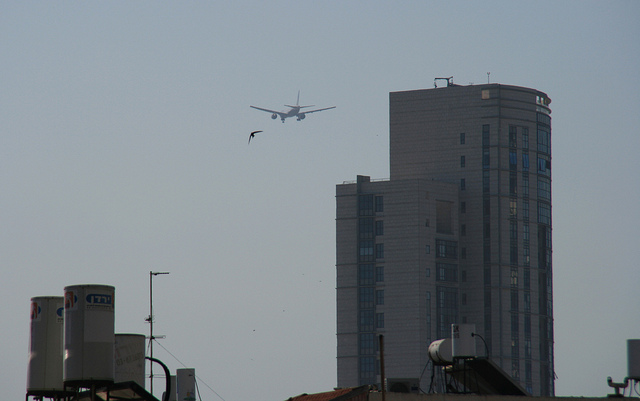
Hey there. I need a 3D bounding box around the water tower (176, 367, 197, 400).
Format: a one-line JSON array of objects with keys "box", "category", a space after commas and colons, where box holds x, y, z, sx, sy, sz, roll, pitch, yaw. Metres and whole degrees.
[{"box": [-22.033, 29.452, 276.446, 2.913, 4.926, 1.881, -3, -16, 5], "category": "water tower"}]

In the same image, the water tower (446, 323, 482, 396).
[{"box": [21.683, 23.266, 252.940, 3.704, 10.552, 4.592, 0, -1, -7], "category": "water tower"}]
